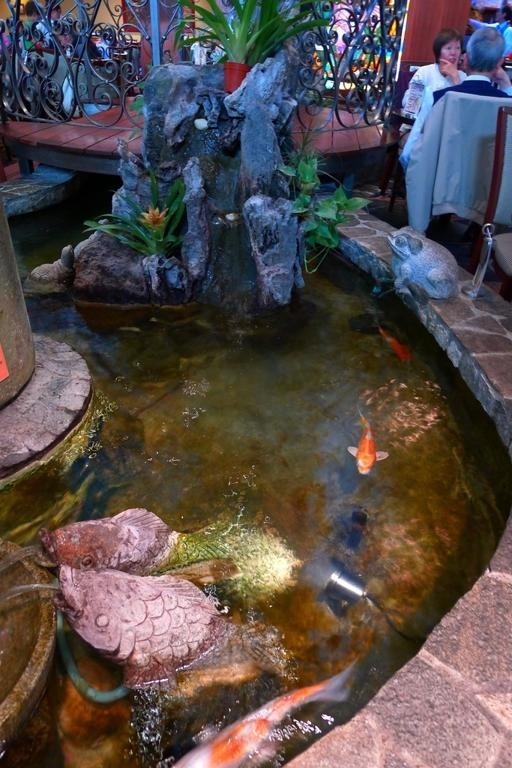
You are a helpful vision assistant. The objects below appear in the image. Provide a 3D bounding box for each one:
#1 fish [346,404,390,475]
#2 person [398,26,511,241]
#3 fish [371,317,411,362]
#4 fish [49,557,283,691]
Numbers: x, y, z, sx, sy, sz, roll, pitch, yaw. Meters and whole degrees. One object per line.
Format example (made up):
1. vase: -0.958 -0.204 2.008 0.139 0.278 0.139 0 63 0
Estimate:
1. fish: 0.520 0.274 2.477 0.160 0.138 0.358 1 45 12
2. person: 1.719 -2.114 4.540 0.813 1.531 1.222 10 29 12
3. fish: 0.857 -0.263 3.478 0.086 0.162 0.382 -33 46 9
4. fish: -0.253 0.682 1.630 0.663 0.303 0.330 -2 29 -10
